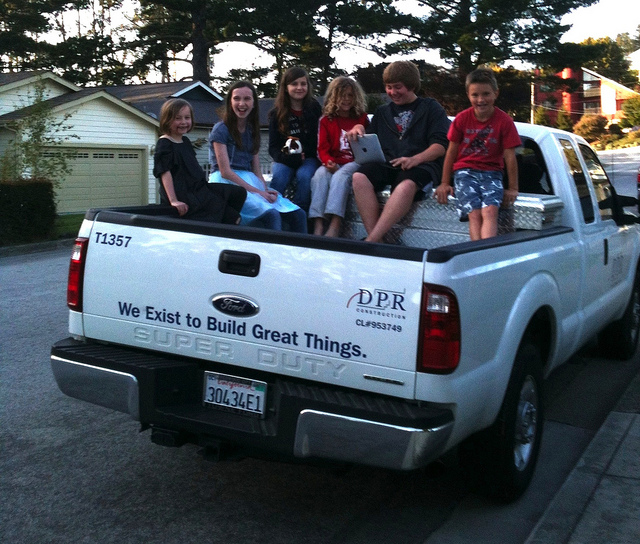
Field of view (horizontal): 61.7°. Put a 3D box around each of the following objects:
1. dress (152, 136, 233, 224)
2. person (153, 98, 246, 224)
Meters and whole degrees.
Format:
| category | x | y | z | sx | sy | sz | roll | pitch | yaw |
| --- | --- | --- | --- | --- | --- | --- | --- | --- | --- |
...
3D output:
| category | x | y | z | sx | sy | sz | roll | pitch | yaw |
| --- | --- | --- | --- | --- | --- | --- | --- | --- | --- |
| dress | -1.075 | -0.822 | 4.695 | 0.729 | 0.814 | 0.618 | -10 | 3 | -36 |
| person | -1.047 | -0.855 | 4.638 | 0.782 | 1.166 | 0.604 | -1 | 25 | -8 |
